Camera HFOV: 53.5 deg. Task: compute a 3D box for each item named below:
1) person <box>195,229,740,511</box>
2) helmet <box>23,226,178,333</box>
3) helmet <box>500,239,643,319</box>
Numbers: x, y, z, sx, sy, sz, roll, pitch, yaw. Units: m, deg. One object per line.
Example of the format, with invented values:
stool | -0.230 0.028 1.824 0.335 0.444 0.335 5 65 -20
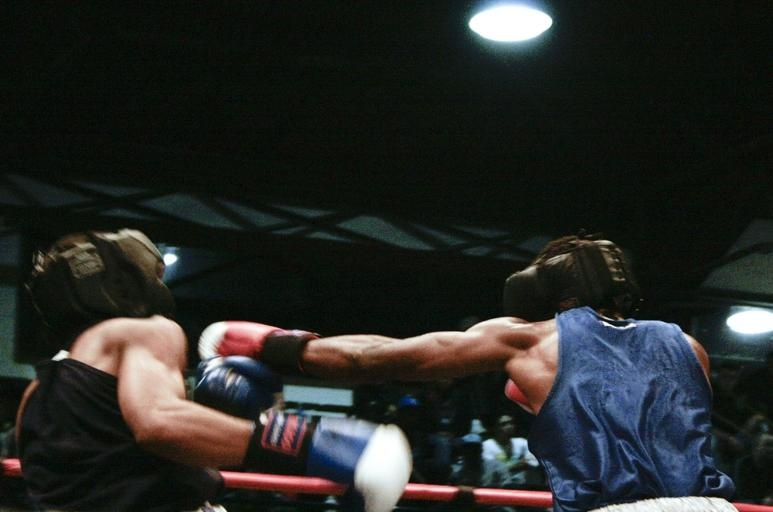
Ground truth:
person | 0.194 0.434 2.693 1.501 0.982 0.447 0 -4 -9
helmet | -0.970 0.108 2.850 0.515 0.373 0.343 -26 -9 -16
helmet | 0.692 0.080 2.984 0.464 0.226 0.380 -25 -4 33
